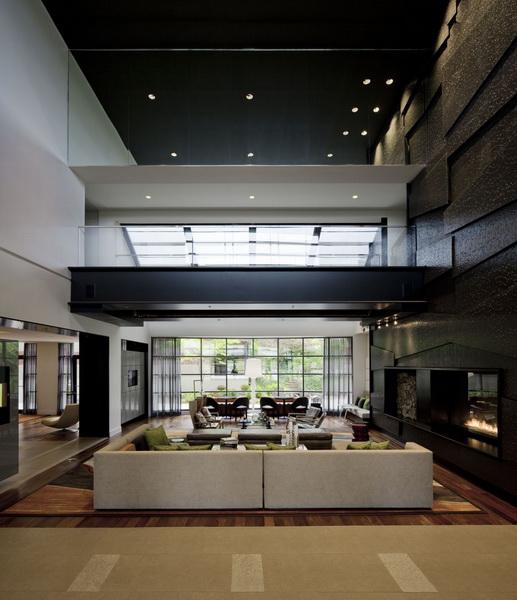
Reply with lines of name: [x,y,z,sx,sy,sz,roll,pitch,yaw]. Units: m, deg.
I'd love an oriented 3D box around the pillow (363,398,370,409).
pillow: [3.002,2.872,13.201,0.119,0.310,0.228,4,-13,-2]

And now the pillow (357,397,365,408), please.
pillow: [2.977,2.946,13.752,0.071,0.232,0.243,23,-16,-6]
